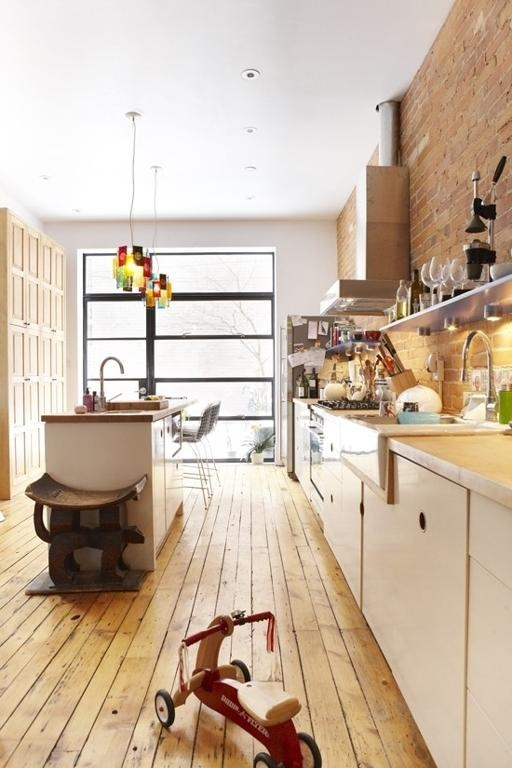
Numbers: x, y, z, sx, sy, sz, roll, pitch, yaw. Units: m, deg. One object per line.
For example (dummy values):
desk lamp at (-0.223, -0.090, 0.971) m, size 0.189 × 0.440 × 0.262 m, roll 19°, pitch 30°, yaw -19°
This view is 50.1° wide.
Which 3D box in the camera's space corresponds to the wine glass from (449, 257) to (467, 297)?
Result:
wine glass at (0.767, -0.399, 2.086) m, size 0.055 × 0.149 × 0.315 m, roll -2°, pitch 4°, yaw 20°

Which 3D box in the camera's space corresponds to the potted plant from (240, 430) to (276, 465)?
potted plant at (0.033, 0.678, 5.903) m, size 0.316 × 0.367 × 0.341 m, roll 0°, pitch -1°, yaw -8°

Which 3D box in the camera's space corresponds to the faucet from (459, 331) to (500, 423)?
faucet at (0.849, -0.035, 2.091) m, size 0.127 × 0.334 × 0.533 m, roll -1°, pitch 4°, yaw 23°

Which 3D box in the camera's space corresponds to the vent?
vent at (0.808, -0.915, 3.930) m, size 0.338 × 0.788 × 1.081 m, roll 3°, pitch 1°, yaw 9°

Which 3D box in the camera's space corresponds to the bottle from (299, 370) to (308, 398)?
bottle at (0.432, 0.002, 4.989) m, size 0.079 × 0.241 × 0.158 m, roll -2°, pitch 3°, yaw 4°

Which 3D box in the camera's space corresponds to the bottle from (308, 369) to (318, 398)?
bottle at (0.517, -0.011, 4.934) m, size 0.085 × 0.257 × 0.246 m, roll -2°, pitch 3°, yaw 5°

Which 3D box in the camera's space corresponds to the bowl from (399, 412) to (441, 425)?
bowl at (0.627, 0.131, 2.116) m, size 0.152 × 0.047 × 0.059 m, roll -2°, pitch 3°, yaw 16°

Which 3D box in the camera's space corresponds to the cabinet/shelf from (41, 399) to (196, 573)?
cabinet/shelf at (-0.723, 0.523, 2.898) m, size 0.522 × 0.817 × 0.701 m, roll -3°, pitch 3°, yaw 4°
